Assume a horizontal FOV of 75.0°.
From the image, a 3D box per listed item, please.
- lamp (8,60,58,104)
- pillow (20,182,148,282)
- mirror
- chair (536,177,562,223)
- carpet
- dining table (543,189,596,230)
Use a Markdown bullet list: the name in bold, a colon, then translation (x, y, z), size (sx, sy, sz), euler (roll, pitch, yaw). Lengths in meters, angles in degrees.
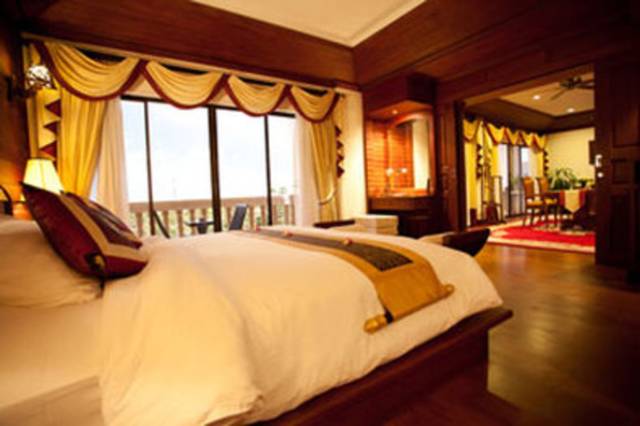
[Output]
- **lamp**: translation (-3.074, -1.373, 4.401), size (0.411, 0.332, 0.204), euler (-5, 4, -36)
- **pillow**: translation (-1.770, 0.132, 3.257), size (0.704, 0.573, 1.479), euler (6, 2, -20)
- **mirror**: translation (1.537, -0.993, 7.184), size (0.252, 1.200, 0.719), euler (-6, 5, -41)
- **chair**: translation (4.519, -0.268, 8.384), size (0.470, 0.842, 0.397), euler (-4, 17, -38)
- **carpet**: translation (4.068, 0.310, 7.444), size (2.473, 0.023, 2.167), euler (-12, 11, -39)
- **dining table**: translation (4.803, -0.090, 7.661), size (0.571, 0.700, 1.046), euler (-5, 0, -32)
